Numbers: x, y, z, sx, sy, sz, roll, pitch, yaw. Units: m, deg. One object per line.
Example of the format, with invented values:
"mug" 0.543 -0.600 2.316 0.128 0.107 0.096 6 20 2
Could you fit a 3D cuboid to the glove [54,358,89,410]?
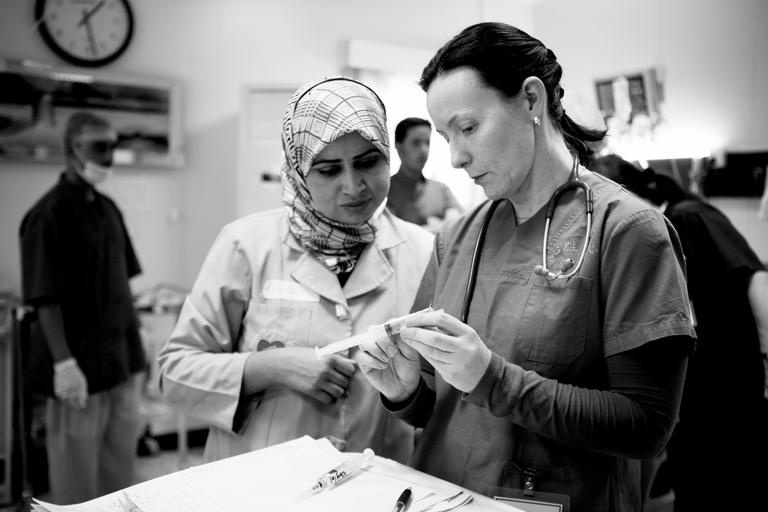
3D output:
"glove" -1.187 0.490 2.896 0.116 0.190 0.045 -14 13 -5
